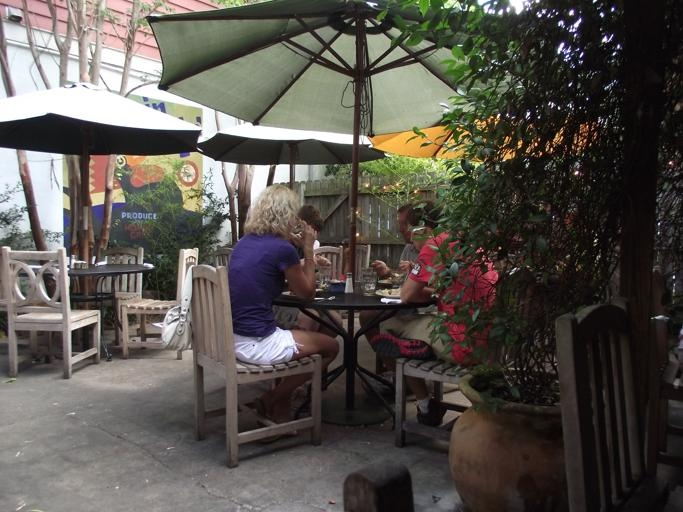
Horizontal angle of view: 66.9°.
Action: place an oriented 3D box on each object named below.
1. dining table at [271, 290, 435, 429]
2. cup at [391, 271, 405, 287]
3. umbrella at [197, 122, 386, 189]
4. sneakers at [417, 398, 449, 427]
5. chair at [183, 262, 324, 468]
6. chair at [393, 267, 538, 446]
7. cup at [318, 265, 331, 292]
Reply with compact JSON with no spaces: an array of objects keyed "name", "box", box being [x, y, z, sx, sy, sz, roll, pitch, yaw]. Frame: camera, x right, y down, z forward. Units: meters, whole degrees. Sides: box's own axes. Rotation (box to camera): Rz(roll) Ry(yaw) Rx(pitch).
[{"name":"dining table","box":[0.086,0.733,3.787,0.956,0.775,1.019,1,-1,5]},{"name":"cup","box":[0.475,0.195,4.298,0.108,0.131,0.110,0,4,0]},{"name":"umbrella","box":[-0.783,-1.384,6.708,1.494,0.592,1.568,5,-3,-43]},{"name":"sneakers","box":[0.635,1.095,3.699,0.228,0.211,0.142,5,3,21]},{"name":"chair","box":[-0.663,0.608,3.995,1.081,1.853,1.085,-3,4,-31]},{"name":"chair","box":[0.729,0.821,3.516,0.702,0.692,0.812,1,5,30]},{"name":"cup","box":[-0.145,0.159,3.928,0.140,0.225,0.143,0,-6,0]}]
